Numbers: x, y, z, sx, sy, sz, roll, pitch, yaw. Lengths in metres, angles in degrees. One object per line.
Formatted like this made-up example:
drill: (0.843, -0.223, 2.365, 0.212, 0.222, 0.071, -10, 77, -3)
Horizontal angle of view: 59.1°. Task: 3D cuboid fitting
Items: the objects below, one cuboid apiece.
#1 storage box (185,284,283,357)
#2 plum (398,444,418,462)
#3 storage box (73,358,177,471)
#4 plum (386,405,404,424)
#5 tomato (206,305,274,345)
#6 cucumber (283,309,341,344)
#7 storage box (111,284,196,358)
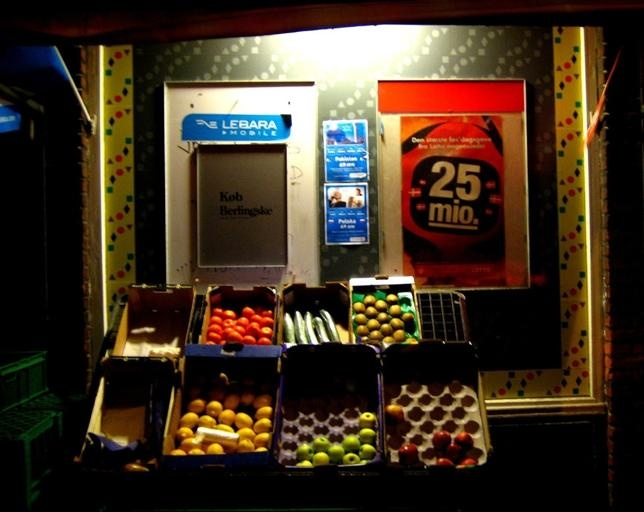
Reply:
storage box: (-0.609, 0.430, 3.953, 0.435, 0.146, 0.459, 0, 30, -3)
plum: (0.519, 1.211, 3.454, 0.093, 0.090, 0.094, -2, 4, 19)
storage box: (-1.220, 0.992, 3.493, 0.491, 0.671, 0.223, 0, -29, 2)
plum: (0.445, 1.008, 3.606, 0.107, 0.109, 0.105, -6, -22, -9)
tomato: (-0.571, 0.489, 3.950, 0.463, 0.208, 0.469, 1, 1, -8)
cucumber: (-0.087, 0.516, 4.003, 0.256, 0.091, 0.258, 4, 27, -6)
storage box: (-1.354, 0.391, 4.459, 0.689, 0.289, 0.885, -8, 0, -7)
